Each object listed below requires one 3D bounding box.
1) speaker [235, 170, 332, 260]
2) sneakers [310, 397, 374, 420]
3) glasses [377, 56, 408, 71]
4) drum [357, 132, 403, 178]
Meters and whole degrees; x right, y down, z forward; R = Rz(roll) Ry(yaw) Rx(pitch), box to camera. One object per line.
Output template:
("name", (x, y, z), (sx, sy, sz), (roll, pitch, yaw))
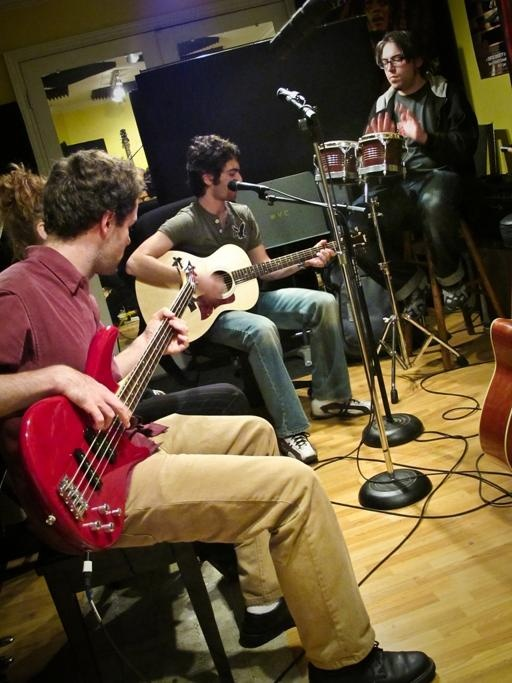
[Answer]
("speaker", (0.209, -0.789, 3.508), (0.712, 0.457, 0.152), (-15, 8, -19))
("sneakers", (0.439, 0.338, 2.794), (0.306, 0.114, 0.109), (-2, 10, 4))
("glasses", (0.783, -1.597, 3.134), (0.054, 0.075, 0.170), (-27, 19, -33))
("drum", (0.591, -0.855, 2.622), (0.235, 0.170, 0.224), (0, 0, 0))
